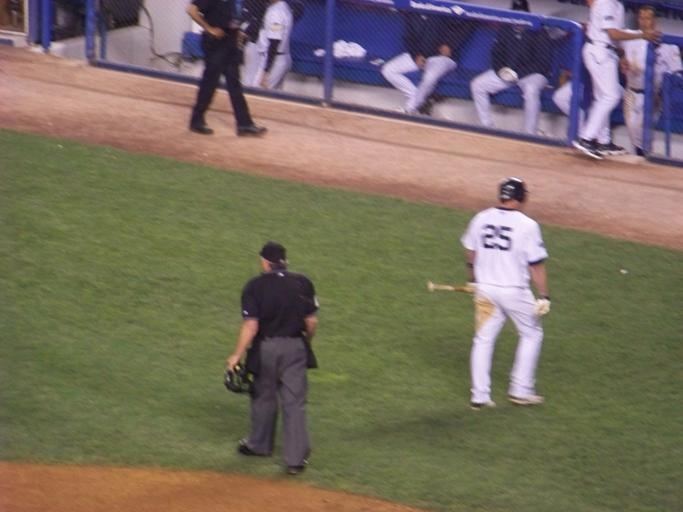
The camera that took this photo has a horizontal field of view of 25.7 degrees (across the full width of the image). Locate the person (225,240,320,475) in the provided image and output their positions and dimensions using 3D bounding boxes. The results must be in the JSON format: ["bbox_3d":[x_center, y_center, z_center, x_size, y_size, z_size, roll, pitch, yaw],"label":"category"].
[{"bbox_3d":[-0.671,1.016,15.117,0.860,2.241,0.411,5,9,-3],"label":"person"}]

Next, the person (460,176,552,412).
[{"bbox_3d":[1.776,0.415,16.085,1.025,2.510,0.330,6,9,6],"label":"person"}]

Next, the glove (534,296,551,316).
[{"bbox_3d":[2.165,0.536,15.986,0.175,0.078,0.211,18,64,24],"label":"glove"}]

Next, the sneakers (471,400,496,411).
[{"bbox_3d":[1.538,1.592,16.215,0.319,0.112,0.101,-5,16,-8],"label":"sneakers"}]

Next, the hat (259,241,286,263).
[{"bbox_3d":[-0.669,-0.048,15.212,0.261,0.167,0.179,0,14,18],"label":"hat"}]

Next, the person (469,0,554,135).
[{"bbox_3d":[2.395,-2.586,20.952,1.167,1.997,1.173,15,46,26],"label":"person"}]

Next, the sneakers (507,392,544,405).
[{"bbox_3d":[2.004,1.536,16.306,0.417,0.150,0.131,-2,14,1],"label":"sneakers"}]

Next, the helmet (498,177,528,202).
[{"bbox_3d":[1.856,-0.731,16.074,0.244,0.245,0.291,8,22,1],"label":"helmet"}]

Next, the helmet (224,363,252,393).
[{"bbox_3d":[-1.019,1.269,15.142,0.339,0.296,0.146,6,40,12],"label":"helmet"}]

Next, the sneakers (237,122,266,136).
[{"bbox_3d":[-1.200,-1.693,20.060,0.431,0.153,0.141,-4,11,-11],"label":"sneakers"}]
